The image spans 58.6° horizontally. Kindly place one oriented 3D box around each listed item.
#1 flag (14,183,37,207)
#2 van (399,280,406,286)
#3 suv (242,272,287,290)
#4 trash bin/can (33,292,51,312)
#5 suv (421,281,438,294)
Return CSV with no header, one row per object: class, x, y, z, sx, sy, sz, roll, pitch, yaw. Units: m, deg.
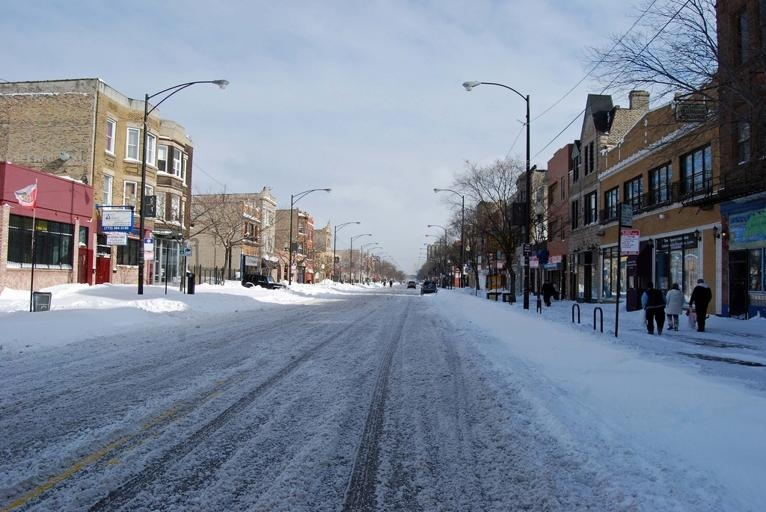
flag,-14.586,-2.443,27.828,0.652,0.841,1.312,-3,7,-34
van,8.474,11.440,279.916,1.600,2.032,3.298,-2,-10,-5
suv,-10.648,2.271,59.002,2.825,1.639,1.759,-1,0,9
trash bin/can,-12.152,1.667,24.189,0.433,0.703,0.447,6,10,-6
suv,4.846,3.372,70.588,1.145,1.208,2.664,1,0,5
